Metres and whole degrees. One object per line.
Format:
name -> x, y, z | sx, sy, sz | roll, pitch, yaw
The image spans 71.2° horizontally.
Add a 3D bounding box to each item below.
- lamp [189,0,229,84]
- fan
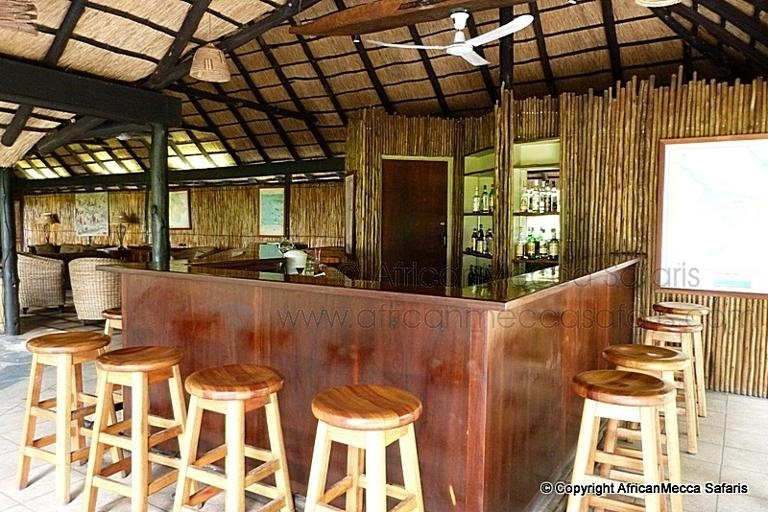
lamp -> -1.868, -2.066, 5.685 | 0.372, 0.468, 0.382 | -2, 2, -17
fan -> 0.558, -1.921, 4.488 | 0.968, 0.228, 1.100 | 18, 46, 13
